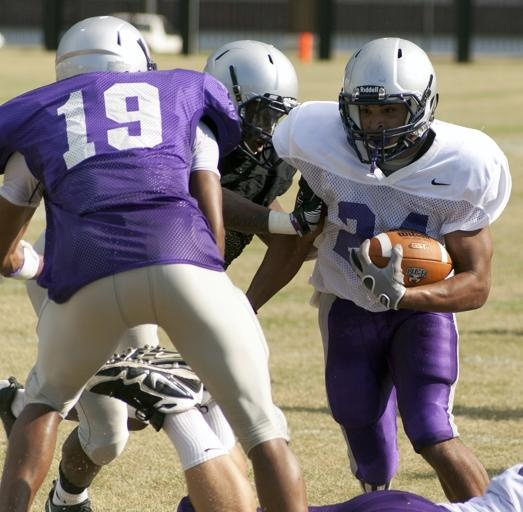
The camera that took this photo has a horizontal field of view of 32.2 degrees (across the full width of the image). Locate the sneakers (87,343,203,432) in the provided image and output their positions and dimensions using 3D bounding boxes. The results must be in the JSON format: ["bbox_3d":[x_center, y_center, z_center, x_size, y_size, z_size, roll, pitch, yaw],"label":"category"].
[{"bbox_3d":[-0.359,0.409,2.801,0.315,0.168,0.253,-1,7,9],"label":"sneakers"}]

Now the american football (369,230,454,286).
[{"bbox_3d":[0.463,0.018,2.944,0.304,0.177,0.207,5,-12,-25],"label":"american football"}]

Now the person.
[{"bbox_3d":[-0.261,0.018,2.413,0.665,0.323,1.108,2,55,-29],"label":"person"}]

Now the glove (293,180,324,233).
[{"bbox_3d":[0.164,-0.166,3.122,0.084,0.149,0.116,-9,35,-10],"label":"glove"}]

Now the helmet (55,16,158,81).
[{"bbox_3d":[-0.494,-0.645,2.861,0.269,0.211,0.201,-11,15,-22],"label":"helmet"}]
